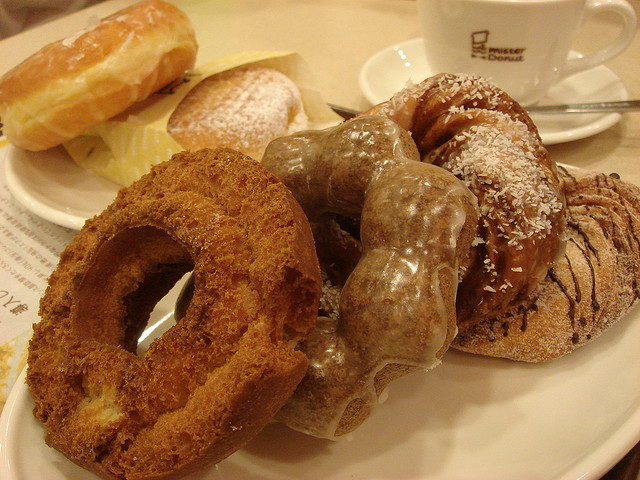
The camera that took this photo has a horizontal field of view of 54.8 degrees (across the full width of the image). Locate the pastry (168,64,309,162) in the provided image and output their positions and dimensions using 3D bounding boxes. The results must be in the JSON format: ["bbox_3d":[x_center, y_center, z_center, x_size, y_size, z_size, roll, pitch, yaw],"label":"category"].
[{"bbox_3d":[-0.133,-0.232,1.297,0.302,0.157,0.211,-12,31,-3],"label":"pastry"}]

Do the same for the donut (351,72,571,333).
[{"bbox_3d":[0.258,-0.043,0.931,0.355,0.125,0.363,6,88,25],"label":"donut"}]

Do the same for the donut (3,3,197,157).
[{"bbox_3d":[-0.381,-0.264,1.194,0.303,0.313,0.101,-36,104,-36],"label":"donut"}]
